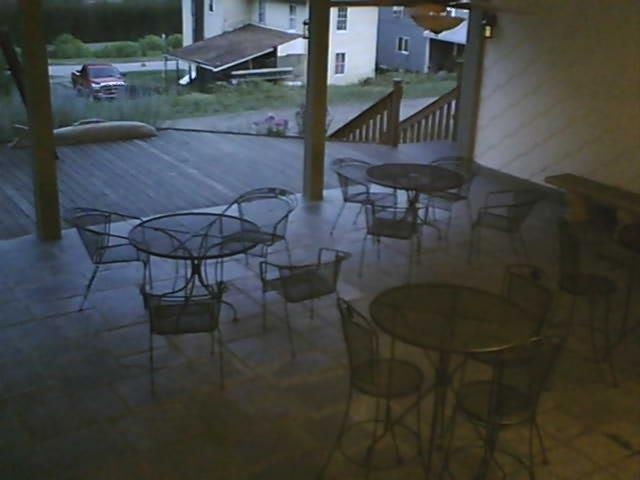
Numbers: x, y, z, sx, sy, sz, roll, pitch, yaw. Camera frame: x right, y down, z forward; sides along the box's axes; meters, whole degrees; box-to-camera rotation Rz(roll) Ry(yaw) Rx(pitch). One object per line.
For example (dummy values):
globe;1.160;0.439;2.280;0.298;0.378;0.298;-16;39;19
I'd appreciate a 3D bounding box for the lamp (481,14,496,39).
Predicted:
lamp;2.873;-3.594;9.511;0.235;0.400;0.194;17;30;29

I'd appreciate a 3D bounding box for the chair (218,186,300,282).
chair;-0.695;-0.040;6.624;0.824;1.058;0.802;22;31;30

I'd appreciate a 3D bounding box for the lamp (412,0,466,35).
lamp;1.816;-3.438;8.745;0.898;0.444;0.403;-11;28;-24
